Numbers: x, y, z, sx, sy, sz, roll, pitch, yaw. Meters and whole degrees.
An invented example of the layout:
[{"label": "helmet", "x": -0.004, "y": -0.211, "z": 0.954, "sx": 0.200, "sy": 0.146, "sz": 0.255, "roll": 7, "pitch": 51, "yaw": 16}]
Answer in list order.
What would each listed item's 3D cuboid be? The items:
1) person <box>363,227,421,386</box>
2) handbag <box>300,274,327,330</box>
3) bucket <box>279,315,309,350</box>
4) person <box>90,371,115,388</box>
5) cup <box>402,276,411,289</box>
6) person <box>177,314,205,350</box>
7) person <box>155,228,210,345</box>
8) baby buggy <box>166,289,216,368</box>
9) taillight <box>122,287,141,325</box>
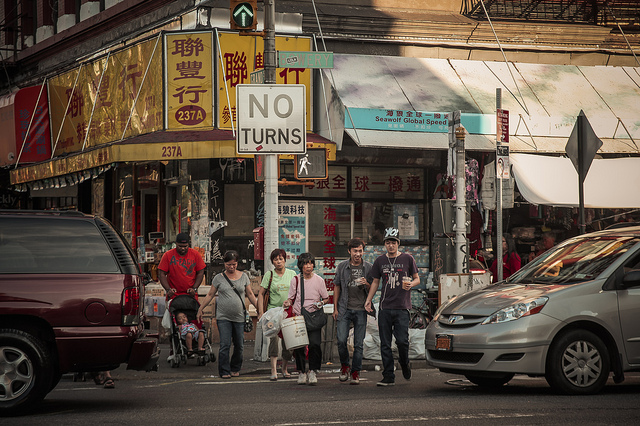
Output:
[{"label": "person", "x": 1.372, "y": 1.727, "z": 18.509, "sx": 0.978, "sy": 2.921, "sz": 0.538, "roll": -2, "pitch": -6, "yaw": 3}, {"label": "handbag", "x": -0.135, "y": 1.675, "z": 18.828, "sx": 0.458, "sy": 1.049, "sz": 0.213, "roll": -1, "pitch": -6, "yaw": -2}, {"label": "bucket", "x": -0.498, "y": 2.260, "z": 18.748, "sx": 0.737, "sy": 0.565, "sz": 0.747, "roll": -13, "pitch": -12, "yaw": -3}, {"label": "person", "x": -4.050, "y": 3.115, "z": 18.578, "sx": 0.290, "sy": 0.349, "sz": 0.849, "roll": 3, "pitch": -13, "yaw": -26}, {"label": "cup", "x": 1.609, "y": 1.273, "z": 18.367, "sx": 0.143, "sy": 0.221, "sz": 0.249, "roll": -2, "pitch": -6, "yaw": 3}, {"label": "person", "x": -2.685, "y": 2.507, "z": 21.074, "sx": 0.459, "sy": 0.502, "sz": 0.756, "roll": -5, "pitch": 16, "yaw": -32}, {"label": "person", "x": -2.928, "y": 1.766, "z": 21.338, "sx": 0.959, "sy": 2.828, "sz": 0.952, "roll": -4, "pitch": 21, "yaw": -13}, {"label": "baby buggy", "x": -2.806, "y": 2.383, "z": 21.090, "sx": 0.896, "sy": 1.696, "sz": 1.132, "roll": -3, "pitch": -6, "yaw": -16}, {"label": "taillight", "x": -3.094, "y": 1.502, "z": 16.234, "sx": 0.104, "sy": 0.593, "sz": 0.285, "roll": -7, "pitch": -9, "yaw": 41}]
